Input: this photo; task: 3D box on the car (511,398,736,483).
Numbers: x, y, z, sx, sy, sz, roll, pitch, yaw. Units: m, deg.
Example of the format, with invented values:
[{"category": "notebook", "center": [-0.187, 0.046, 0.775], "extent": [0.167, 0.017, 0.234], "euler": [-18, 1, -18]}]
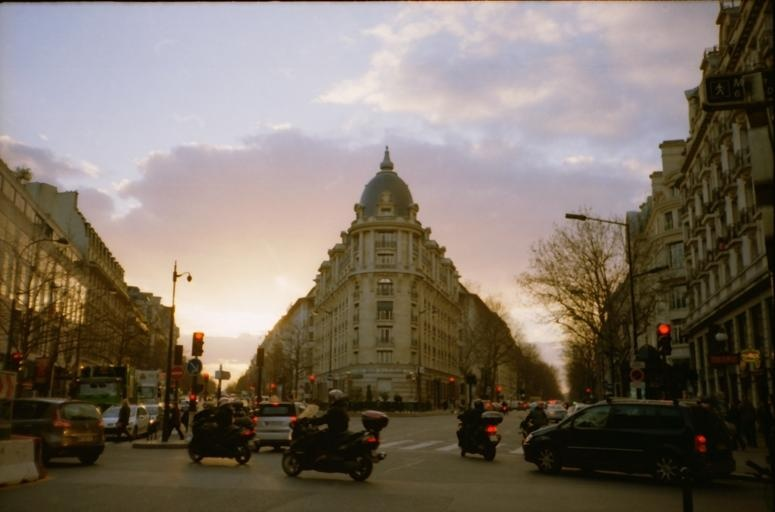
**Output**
[{"category": "car", "center": [7.310, 5.714, 22.709], "extent": [6.041, 2.393, 2.748], "euler": [-8, -11, 41]}]

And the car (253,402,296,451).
[{"category": "car", "center": [-4.402, 6.772, 30.269], "extent": [1.943, 1.804, 3.104], "euler": [1, 6, 2]}]

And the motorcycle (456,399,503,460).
[{"category": "motorcycle", "center": [3.383, 6.452, 27.814], "extent": [1.512, 2.219, 0.915], "euler": [-12, -23, 32]}]

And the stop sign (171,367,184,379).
[{"category": "stop sign", "center": [-9.434, 5.286, 34.067], "extent": [0.605, 0.584, 0.611], "euler": [1, -5, -9]}]

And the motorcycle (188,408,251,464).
[{"category": "motorcycle", "center": [-5.672, 6.079, 25.621], "extent": [2.035, 1.946, 0.709], "euler": [-4, -20, 15]}]

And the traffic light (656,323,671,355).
[{"category": "traffic light", "center": [9.691, 2.902, 26.308], "extent": [0.415, 1.237, 0.770], "euler": [-4, -20, 15]}]

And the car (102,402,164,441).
[{"category": "car", "center": [-12.623, 8.077, 37.521], "extent": [2.387, 1.500, 4.476], "euler": [-3, -18, 4]}]

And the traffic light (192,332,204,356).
[{"category": "traffic light", "center": [-8.301, 3.907, 32.996], "extent": [0.418, 0.913, 0.679], "euler": [2, -19, -4]}]

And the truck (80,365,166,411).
[{"category": "truck", "center": [-17.925, 8.784, 52.599], "extent": [3.719, 3.354, 11.440], "euler": [0, -10, 7]}]

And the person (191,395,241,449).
[{"category": "person", "center": [-5.581, 5.875, 26.172], "extent": [1.733, 1.375, 0.757], "euler": [-5, -12, 25]}]
